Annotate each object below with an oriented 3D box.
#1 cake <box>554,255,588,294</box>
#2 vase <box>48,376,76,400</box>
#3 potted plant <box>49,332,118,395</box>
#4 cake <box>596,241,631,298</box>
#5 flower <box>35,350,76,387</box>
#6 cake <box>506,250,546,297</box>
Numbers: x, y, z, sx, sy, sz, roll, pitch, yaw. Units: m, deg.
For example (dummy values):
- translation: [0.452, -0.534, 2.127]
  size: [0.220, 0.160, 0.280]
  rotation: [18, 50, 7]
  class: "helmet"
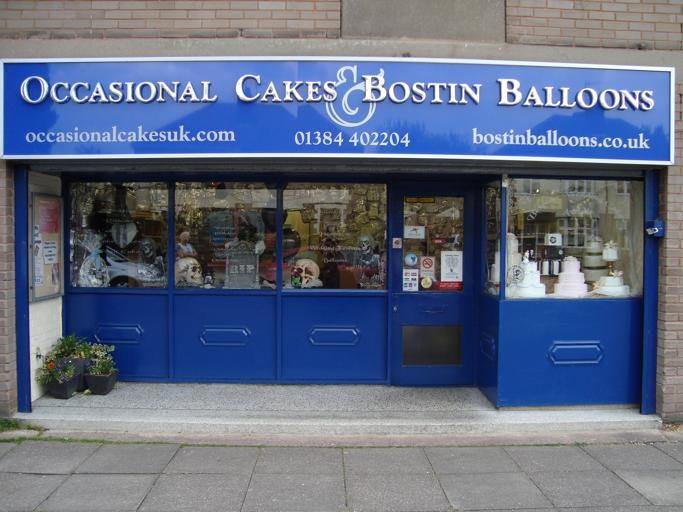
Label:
- translation: [2.964, 0.273, 9.381]
  size: [0.432, 0.467, 0.433]
  rotation: [1, -3, -3]
  class: "cake"
- translation: [-3.657, 1.690, 9.235]
  size: [0.338, 0.248, 0.279]
  rotation: [1, -4, 2]
  class: "vase"
- translation: [-3.433, 1.392, 9.383]
  size: [0.792, 0.574, 0.783]
  rotation: [2, -2, 2]
  class: "potted plant"
- translation: [3.544, 0.153, 9.270]
  size: [0.441, 0.686, 0.138]
  rotation: [-2, 0, 16]
  class: "cake"
- translation: [-3.711, 1.442, 9.187]
  size: [0.401, 0.326, 0.458]
  rotation: [2, -3, 2]
  class: "flower"
- translation: [2.410, 0.253, 9.249]
  size: [0.483, 0.485, 0.476]
  rotation: [-3, -3, 40]
  class: "cake"
